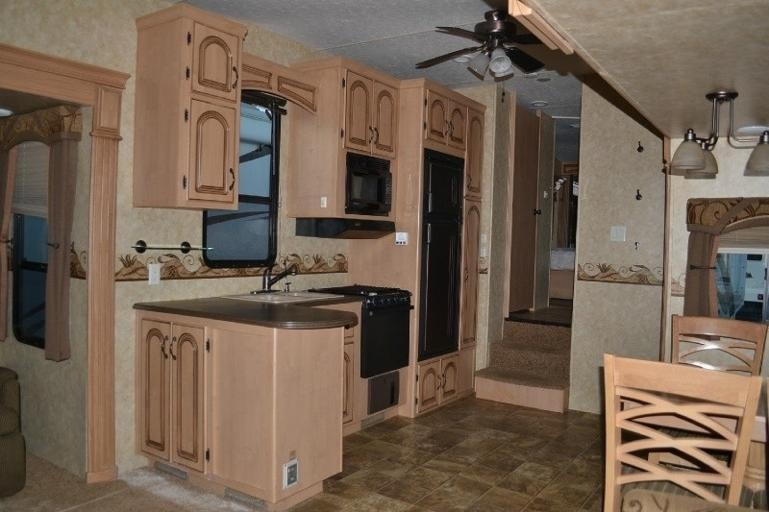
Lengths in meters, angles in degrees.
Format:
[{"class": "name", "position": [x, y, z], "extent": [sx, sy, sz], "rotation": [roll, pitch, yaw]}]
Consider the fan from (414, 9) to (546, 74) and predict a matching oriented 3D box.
[{"class": "fan", "position": [0.807, -1.634, 4.766], "extent": [0.774, 0.507, 1.002], "rotation": [10, 13, 38]}]

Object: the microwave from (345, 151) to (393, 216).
[{"class": "microwave", "position": [-0.158, -0.631, 5.464], "extent": [0.352, 0.502, 0.644], "rotation": [-2, -3, 34]}]

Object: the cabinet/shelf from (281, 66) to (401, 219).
[{"class": "cabinet/shelf", "position": [-0.363, -0.985, 5.444], "extent": [1.006, 1.350, 0.637], "rotation": [0, 11, -6]}]

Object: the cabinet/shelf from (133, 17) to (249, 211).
[{"class": "cabinet/shelf", "position": [-1.431, -1.042, 4.534], "extent": [0.841, 1.388, 0.553], "rotation": [-1, 12, -11]}]

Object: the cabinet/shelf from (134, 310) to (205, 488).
[{"class": "cabinet/shelf", "position": [-1.546, 0.971, 4.515], "extent": [0.823, 1.054, 0.201], "rotation": [8, 14, 33]}]

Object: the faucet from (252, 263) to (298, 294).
[{"class": "faucet", "position": [-0.941, 0.207, 5.360], "extent": [0.387, 0.203, 0.203], "rotation": [-3, -2, 36]}]
